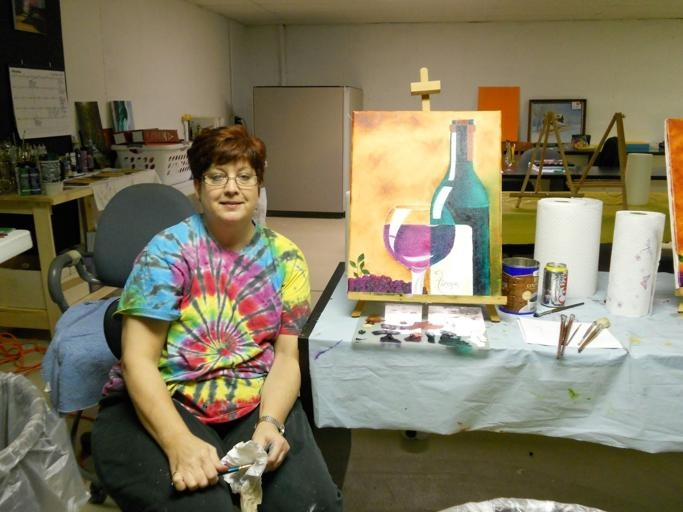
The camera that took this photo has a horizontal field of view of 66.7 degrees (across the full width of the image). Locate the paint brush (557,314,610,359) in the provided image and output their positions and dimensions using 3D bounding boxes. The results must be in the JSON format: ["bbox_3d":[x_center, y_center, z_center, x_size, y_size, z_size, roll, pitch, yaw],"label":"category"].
[{"bbox_3d":[0.766,0.252,1.670,0.146,0.048,0.144,12,50,38],"label":"paint brush"}]

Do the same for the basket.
[{"bbox_3d":[-1.484,-0.750,4.406,0.610,0.400,0.874,0,6,18],"label":"basket"}]

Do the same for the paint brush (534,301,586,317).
[{"bbox_3d":[0.780,0.193,1.862,0.191,0.034,0.012,-9,-17,-15],"label":"paint brush"}]

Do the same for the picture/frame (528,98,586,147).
[{"bbox_3d":[2.922,-1.825,7.047,0.745,0.597,0.282,3,13,21],"label":"picture/frame"}]

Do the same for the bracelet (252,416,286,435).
[{"bbox_3d":[-0.208,0.497,1.520,0.060,0.063,0.025,6,51,32],"label":"bracelet"}]

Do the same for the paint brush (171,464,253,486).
[{"bbox_3d":[-0.338,0.575,1.389,0.184,0.030,0.028,-14,-20,-4],"label":"paint brush"}]
